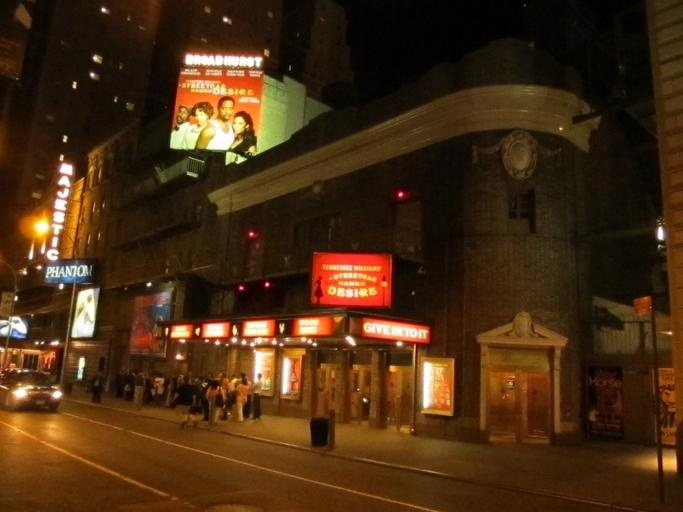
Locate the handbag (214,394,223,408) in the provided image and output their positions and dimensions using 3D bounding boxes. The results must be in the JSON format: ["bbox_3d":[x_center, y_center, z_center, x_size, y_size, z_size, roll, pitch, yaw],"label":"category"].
[{"bbox_3d":[-5.572,6.711,28.059,0.216,0.608,0.617,2,-3,13],"label":"handbag"}]

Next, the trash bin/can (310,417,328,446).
[{"bbox_3d":[-0.847,6.756,23.339,0.911,1.014,0.895,2,-7,1],"label":"trash bin/can"}]
